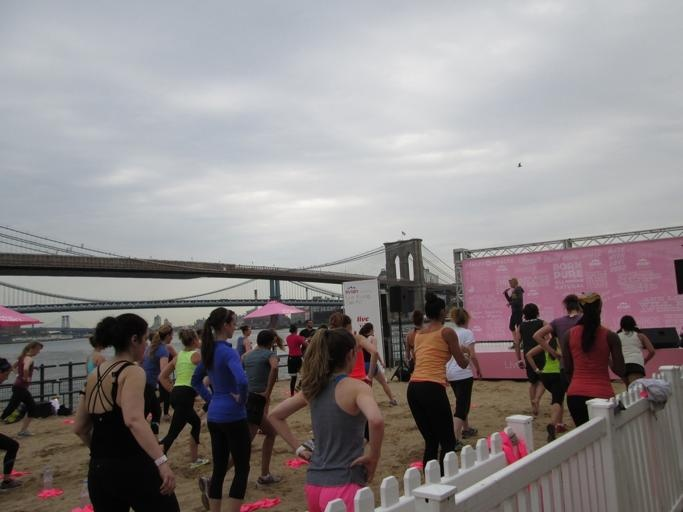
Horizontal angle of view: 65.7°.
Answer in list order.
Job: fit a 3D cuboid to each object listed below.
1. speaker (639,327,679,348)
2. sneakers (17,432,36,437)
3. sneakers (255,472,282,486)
[{"bbox_3d":[5.887,1.504,9.705,0.650,0.418,0.487,-6,-16,25],"label":"speaker"},{"bbox_3d":[-5.274,2.984,8.838,0.193,0.082,0.071,13,-1,-18],"label":"sneakers"},{"bbox_3d":[-0.776,2.385,5.670,0.260,0.116,0.097,1,-2,-24],"label":"sneakers"}]
